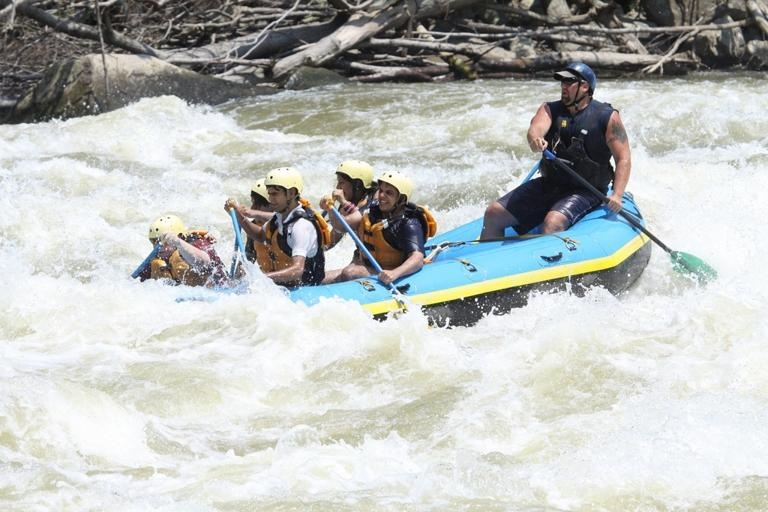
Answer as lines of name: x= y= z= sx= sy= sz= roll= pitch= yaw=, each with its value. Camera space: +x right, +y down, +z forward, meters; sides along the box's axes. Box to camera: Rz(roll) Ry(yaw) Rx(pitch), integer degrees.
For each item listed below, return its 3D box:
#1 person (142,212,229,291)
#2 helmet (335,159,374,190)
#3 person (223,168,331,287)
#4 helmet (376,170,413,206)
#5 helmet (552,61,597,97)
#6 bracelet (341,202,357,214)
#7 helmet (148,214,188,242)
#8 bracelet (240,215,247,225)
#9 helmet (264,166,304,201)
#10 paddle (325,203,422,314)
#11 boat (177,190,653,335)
person: x=-2.258 y=-0.020 z=11.436 sx=0.504 sy=0.919 sz=0.477 roll=-32 pitch=-12 yaw=-41
helmet: x=-0.325 y=-0.940 z=11.538 sx=0.398 sy=0.264 sz=0.306 roll=-13 pitch=11 yaw=-5
person: x=-1.044 y=-0.291 z=10.820 sx=0.839 sy=1.266 sz=0.648 roll=-2 pitch=17 yaw=8
helmet: x=0.122 y=-0.739 z=10.986 sx=0.297 sy=0.331 sz=0.327 roll=-8 pitch=21 yaw=-32
helmet: x=2.243 y=-2.089 z=11.931 sx=0.449 sy=0.376 sz=0.466 roll=-2 pitch=16 yaw=8
bracelet: x=-0.399 y=-0.554 z=11.386 sx=0.155 sy=0.055 sz=0.138 roll=2 pitch=47 yaw=2
helmet: x=-2.325 y=-0.282 z=11.146 sx=0.397 sy=0.284 sz=0.285 roll=20 pitch=-46 yaw=-37
bracelet: x=-1.542 y=-0.388 z=11.072 sx=0.065 sy=0.097 sz=0.021 roll=3 pitch=-17 yaw=-15
helmet: x=-1.062 y=-0.819 z=10.893 sx=0.377 sy=0.251 sz=0.299 roll=1 pitch=0 yaw=-35
paddle: x=-0.083 y=0.037 z=10.998 sx=0.264 sy=1.518 sz=0.173 roll=-46 pitch=-9 yaw=18
boat: x=1.218 y=0.159 z=11.360 sx=3.676 sy=0.576 sz=1.999 roll=-12 pitch=16 yaw=-18
